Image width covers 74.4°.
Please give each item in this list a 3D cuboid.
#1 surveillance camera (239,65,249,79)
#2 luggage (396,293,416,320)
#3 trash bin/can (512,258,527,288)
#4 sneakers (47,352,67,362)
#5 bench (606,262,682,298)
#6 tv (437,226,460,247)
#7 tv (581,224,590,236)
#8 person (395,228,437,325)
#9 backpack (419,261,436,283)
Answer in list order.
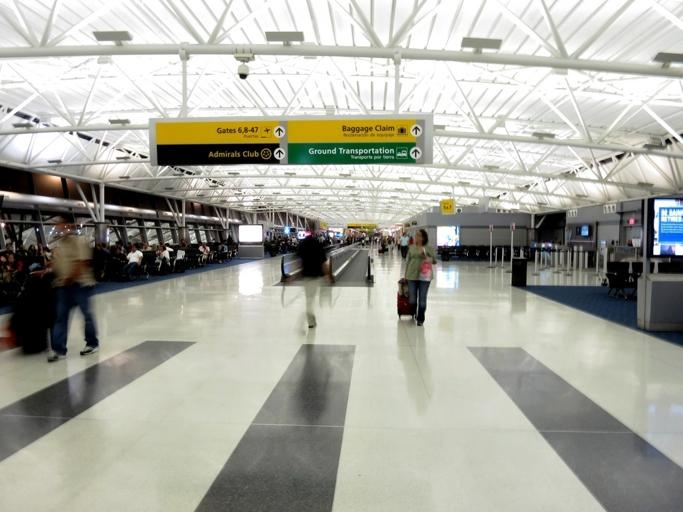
[{"bbox_3d":[-2.185,-4.163,10.075,0.202,0.350,0.318,-1,6,-17],"label":"surveillance camera"},{"bbox_3d":[1.320,1.058,9.396,0.369,0.427,0.193,-4,1,1],"label":"luggage"},{"bbox_3d":[5.828,0.523,14.793,0.539,0.948,0.578,5,8,34],"label":"trash bin/can"},{"bbox_3d":[-4.321,1.540,6.822,0.212,0.069,0.116,3,-1,-23],"label":"sneakers"},{"bbox_3d":[6.869,0.553,10.276,1.128,0.542,0.313,0,5,-2],"label":"bench"},{"bbox_3d":[8.016,-1.461,34.028,1.848,1.406,0.566,-1,0,0],"label":"tv"},{"bbox_3d":[18.157,-1.885,33.431,0.561,0.900,0.993,2,-1,4],"label":"tv"},{"bbox_3d":[1.498,0.413,8.970,0.681,1.887,0.883,1,6,7],"label":"person"},{"bbox_3d":[1.633,0.296,8.709,0.323,0.462,0.130,4,0,1],"label":"backpack"}]
